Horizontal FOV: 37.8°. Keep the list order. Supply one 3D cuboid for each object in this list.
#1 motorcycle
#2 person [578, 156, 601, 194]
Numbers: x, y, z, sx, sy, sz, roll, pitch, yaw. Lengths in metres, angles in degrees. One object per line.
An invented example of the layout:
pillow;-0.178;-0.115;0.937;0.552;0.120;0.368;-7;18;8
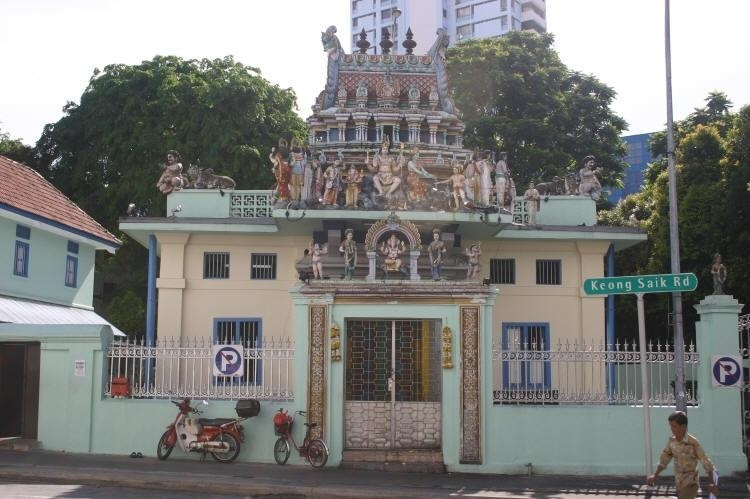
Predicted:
motorcycle;-5.384;5.687;34.406;3.126;1.917;1.675;3;-36;6
person;8.498;-2.781;43.559;0.807;1.842;1.487;-2;-11;11
